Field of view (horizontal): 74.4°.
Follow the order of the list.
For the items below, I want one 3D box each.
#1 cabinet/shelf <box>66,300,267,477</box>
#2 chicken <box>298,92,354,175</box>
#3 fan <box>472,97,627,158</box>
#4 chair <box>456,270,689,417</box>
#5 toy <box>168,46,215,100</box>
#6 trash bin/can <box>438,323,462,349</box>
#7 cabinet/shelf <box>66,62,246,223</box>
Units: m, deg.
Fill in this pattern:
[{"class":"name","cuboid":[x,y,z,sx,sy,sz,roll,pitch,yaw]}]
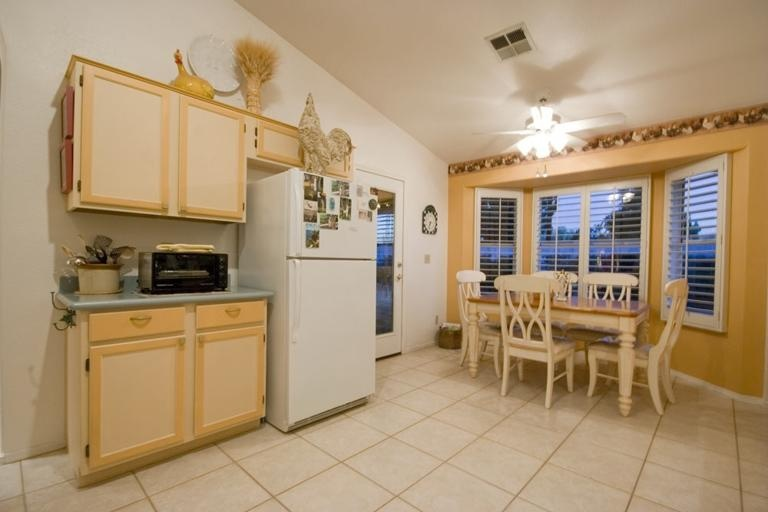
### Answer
[{"class":"cabinet/shelf","cuboid":[-1.821,1.093,4.103,1.448,1.296,0.735,0,-3,-41]},{"class":"chicken","cuboid":[-0.590,-1.174,5.054,0.394,0.736,0.670,7,10,33]},{"class":"fan","cuboid":[1.845,-1.295,5.252,0.824,0.402,0.862,-5,-6,28]},{"class":"chair","cuboid":[1.978,0.809,5.352,1.403,1.188,1.865,0,0,-44]},{"class":"toy","cuboid":[-1.726,-1.618,4.576,0.395,0.380,0.259,2,30,-36]},{"class":"trash bin/can","cuboid":[0.848,1.098,6.872,0.311,0.265,0.314,-2,-4,45]},{"class":"cabinet/shelf","cuboid":[-1.993,-0.935,4.323,1.481,1.177,0.472,4,-8,-39]}]
